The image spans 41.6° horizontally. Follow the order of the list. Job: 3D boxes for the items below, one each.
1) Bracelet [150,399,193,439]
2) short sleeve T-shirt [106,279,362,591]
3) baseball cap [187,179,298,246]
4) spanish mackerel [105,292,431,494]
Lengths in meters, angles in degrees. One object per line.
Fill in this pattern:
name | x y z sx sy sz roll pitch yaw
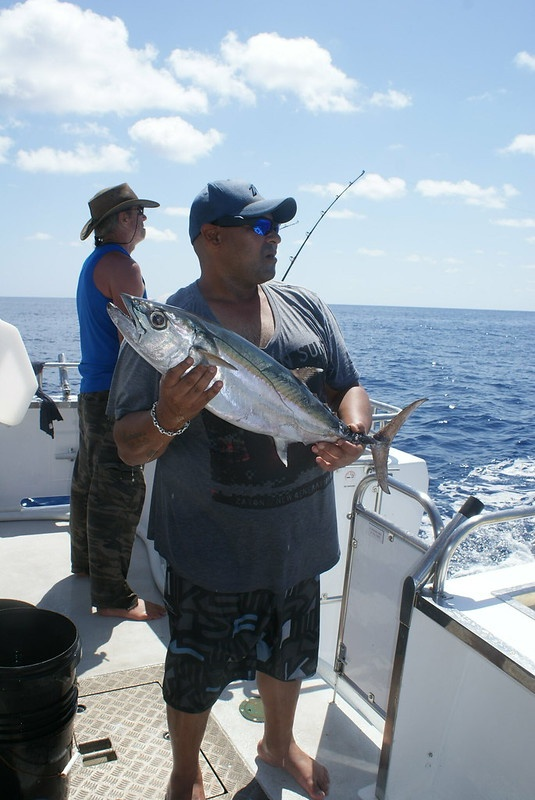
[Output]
Bracelet | -0.265 0.059 1.966 0.109 0.109 0.026 17 48 19
short sleeve T-shirt | -0.056 0.102 2.273 0.904 0.911 0.509 -5 19 -22
baseball cap | -0.076 -0.563 2.135 0.319 0.196 0.169 3 10 -3
spanish mackerel | -0.010 0.009 2.037 0.916 0.572 0.191 -2 12 -32
